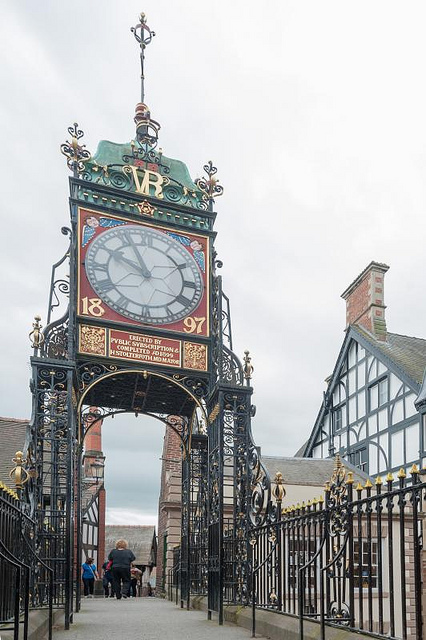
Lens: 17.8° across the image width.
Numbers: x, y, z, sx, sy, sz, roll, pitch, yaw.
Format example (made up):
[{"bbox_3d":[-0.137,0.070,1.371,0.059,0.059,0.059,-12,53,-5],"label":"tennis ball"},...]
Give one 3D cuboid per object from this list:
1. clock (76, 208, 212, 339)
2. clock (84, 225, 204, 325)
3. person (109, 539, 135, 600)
[{"bbox_3d":[-1.132,-0.633,20.624,1.687,1.619,0.117,14,-31,-23],"label":"clock"},{"bbox_3d":[-1.121,-0.628,20.629,1.465,1.603,0.099,5,-32,-36],"label":"clock"},{"bbox_3d":[-1.566,4.297,23.434,0.356,1.043,0.478,9,-18,-25],"label":"person"}]
